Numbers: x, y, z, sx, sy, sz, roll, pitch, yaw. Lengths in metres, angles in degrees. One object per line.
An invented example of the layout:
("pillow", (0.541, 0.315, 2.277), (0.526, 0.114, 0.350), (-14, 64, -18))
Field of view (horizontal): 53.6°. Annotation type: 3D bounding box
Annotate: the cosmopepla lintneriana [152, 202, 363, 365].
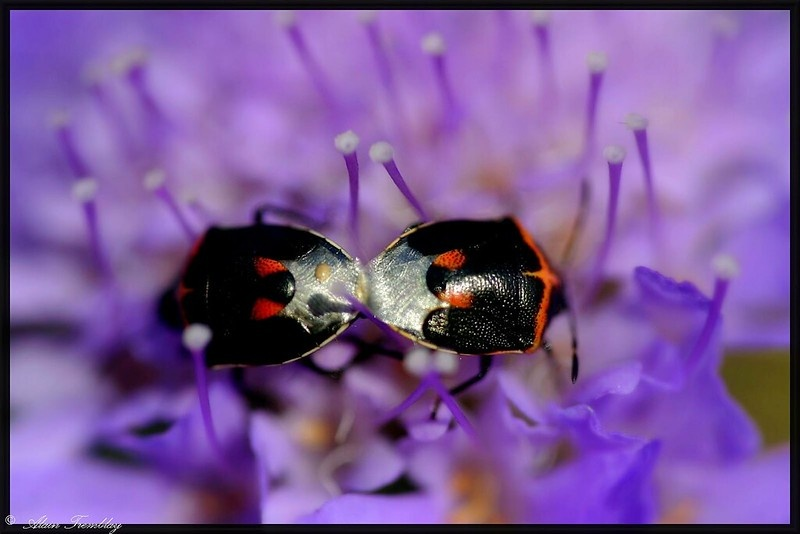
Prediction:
("cosmopepla lintneriana", (-0.294, 0.064, 1.766), (0.378, 0.111, 0.311), (-6, 93, 15))
